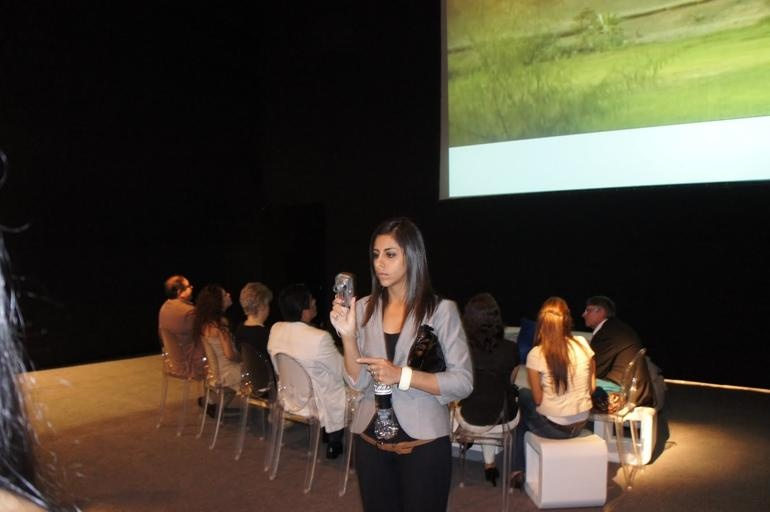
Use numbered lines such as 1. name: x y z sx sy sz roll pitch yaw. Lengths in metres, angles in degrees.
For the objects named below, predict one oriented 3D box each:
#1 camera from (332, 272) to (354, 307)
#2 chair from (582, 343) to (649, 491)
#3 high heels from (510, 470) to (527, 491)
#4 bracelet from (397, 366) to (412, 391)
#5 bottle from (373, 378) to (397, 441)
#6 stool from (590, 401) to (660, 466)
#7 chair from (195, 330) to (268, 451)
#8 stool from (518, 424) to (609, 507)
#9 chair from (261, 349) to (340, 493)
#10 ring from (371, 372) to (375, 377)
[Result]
1. camera: -0.228 0.196 2.957 0.115 0.198 0.104 19 21 38
2. chair: 2.237 1.525 5.399 1.026 1.424 0.956 -3 -6 25
3. high heels: 1.183 1.982 4.568 0.075 0.217 0.092 1 -9 -2
4. bracelet: 0.124 0.672 2.854 0.074 0.120 0.116 2 34 11
5. bottle: 0.008 0.863 2.875 0.139 0.334 0.060 -1 11 -3
6. stool: 2.336 1.719 4.890 0.580 0.623 0.598 -5 -5 38
7. chair: -1.538 1.400 5.073 0.742 1.035 0.805 16 5 -8
8. stool: 1.522 1.777 4.518 0.621 0.555 0.593 2 -5 -13
9. chair: -0.874 1.448 4.746 0.541 1.147 0.718 0 10 1
10. ring: -0.065 0.652 2.856 0.018 0.021 0.023 3 -5 -2
